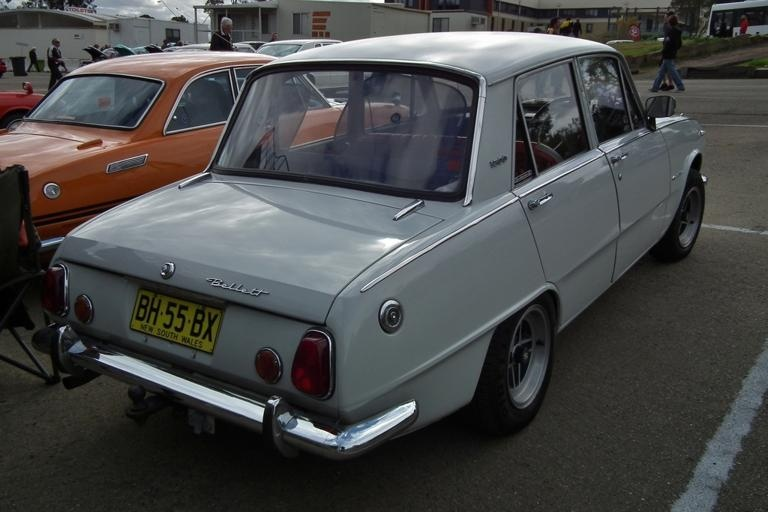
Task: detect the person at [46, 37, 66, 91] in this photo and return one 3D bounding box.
[{"bbox_3d":[-14.649,-8.652,21.726,0.606,2.096,0.715,-2,33,-35],"label":"person"}]
